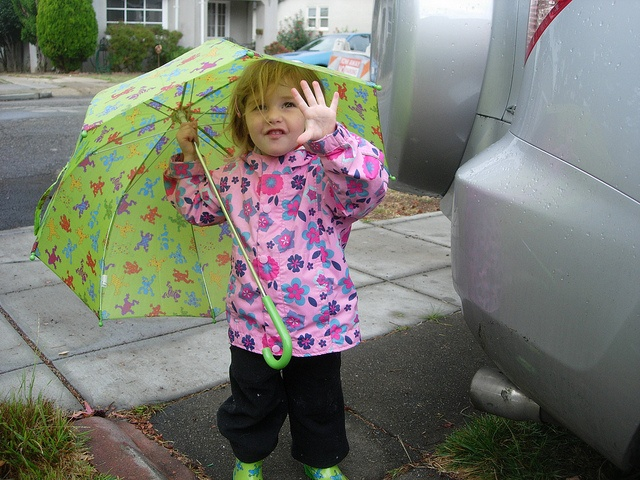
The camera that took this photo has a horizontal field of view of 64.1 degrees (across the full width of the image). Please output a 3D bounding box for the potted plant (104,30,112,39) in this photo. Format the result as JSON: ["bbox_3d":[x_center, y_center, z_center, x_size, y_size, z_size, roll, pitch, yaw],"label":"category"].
[{"bbox_3d":[-7.772,-7.415,18.627,0.297,0.314,0.292,2,25,-15],"label":"potted plant"}]
